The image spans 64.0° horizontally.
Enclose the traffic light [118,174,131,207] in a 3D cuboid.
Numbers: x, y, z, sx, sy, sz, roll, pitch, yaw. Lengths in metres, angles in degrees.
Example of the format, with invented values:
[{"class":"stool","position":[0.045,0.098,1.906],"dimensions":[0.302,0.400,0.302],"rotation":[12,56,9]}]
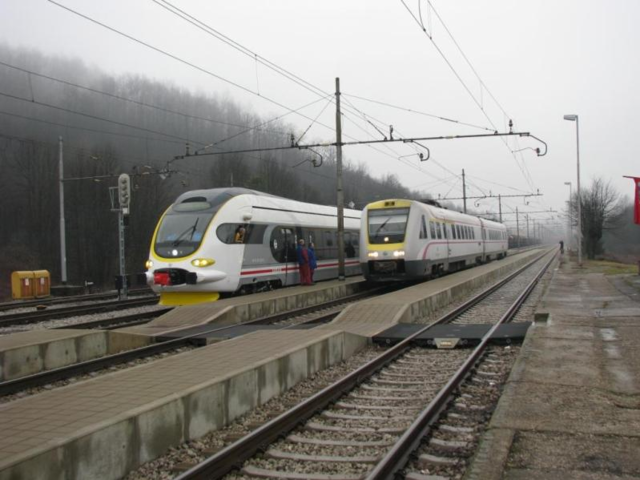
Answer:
[{"class":"traffic light","position":[-7.925,-1.994,20.914],"dimensions":[0.380,1.467,0.923],"rotation":[-1,-1,-25]}]
